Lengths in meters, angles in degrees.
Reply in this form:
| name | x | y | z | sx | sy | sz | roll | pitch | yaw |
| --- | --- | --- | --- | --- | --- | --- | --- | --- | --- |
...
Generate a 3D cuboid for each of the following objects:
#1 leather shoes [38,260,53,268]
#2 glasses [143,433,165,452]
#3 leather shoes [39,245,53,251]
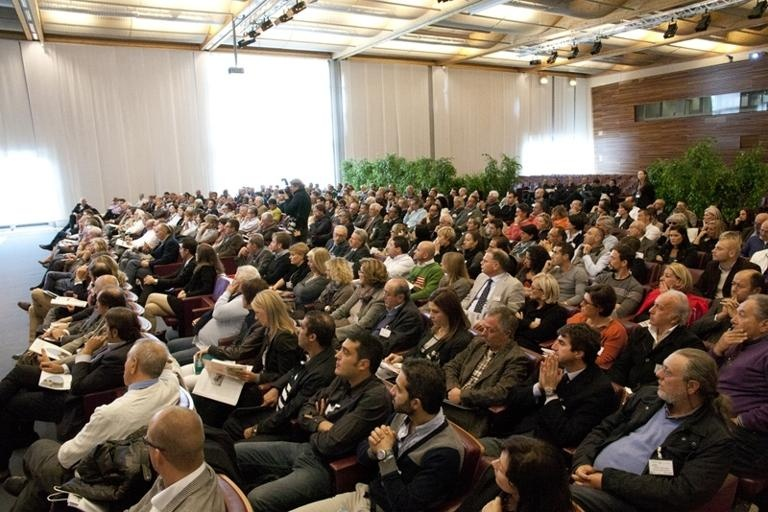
| name | x | y | z | sx | sy | sz | roll | pitch | yaw |
| --- | --- | --- | --- | --- | --- | --- | --- | --- | --- |
| leather shoes | -7.099 | 0.158 | 9.762 | 0.339 | 0.154 | 0.115 | 12 | 12 | 23 |
| glasses | -1.335 | 1.063 | 2.680 | 0.175 | 0.096 | 0.027 | 5 | 15 | 32 |
| leather shoes | -8.545 | -0.220 | 11.764 | 0.146 | 0.098 | 0.319 | -5 | -1 | -4 |
